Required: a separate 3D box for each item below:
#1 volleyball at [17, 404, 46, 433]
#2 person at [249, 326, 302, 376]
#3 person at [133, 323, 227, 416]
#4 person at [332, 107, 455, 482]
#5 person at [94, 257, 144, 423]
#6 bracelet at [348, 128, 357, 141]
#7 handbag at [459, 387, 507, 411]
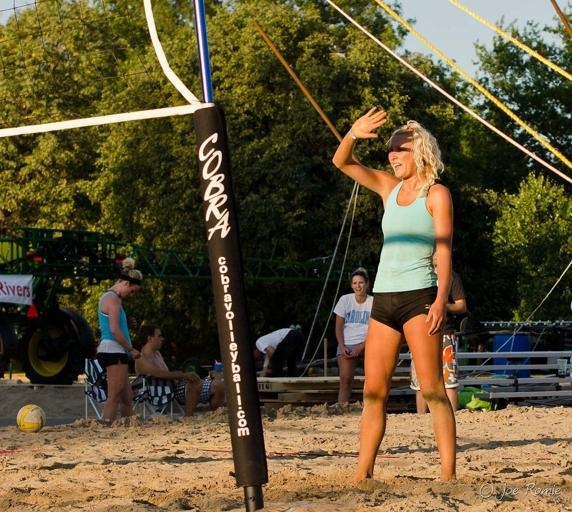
[{"bbox_3d":[-2.583,1.632,10.965,0.290,0.350,0.292,5,-20,-23],"label":"volleyball"},{"bbox_3d":[-0.103,1.457,16.334,0.709,0.759,1.282,1,-3,-3],"label":"person"},{"bbox_3d":[-1.347,1.482,13.529,1.113,1.337,0.649,-6,4,-12],"label":"person"},{"bbox_3d":[0.933,0.365,9.179,0.985,3.213,0.752,0,6,11],"label":"person"},{"bbox_3d":[-1.986,0.968,12.621,0.427,1.899,0.684,0,-2,12],"label":"person"},{"bbox_3d":[0.562,-1.033,9.066,0.024,0.077,0.077,-14,3,-8],"label":"bracelet"},{"bbox_3d":[2.567,1.937,14.469,0.394,0.180,0.521,1,-2,3],"label":"handbag"}]
